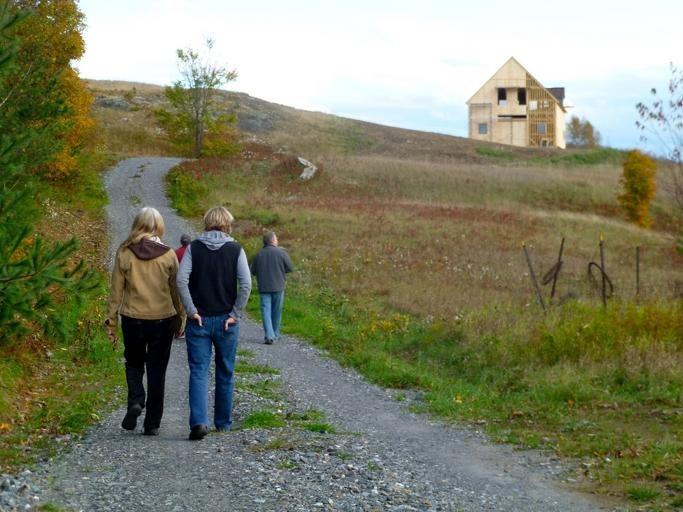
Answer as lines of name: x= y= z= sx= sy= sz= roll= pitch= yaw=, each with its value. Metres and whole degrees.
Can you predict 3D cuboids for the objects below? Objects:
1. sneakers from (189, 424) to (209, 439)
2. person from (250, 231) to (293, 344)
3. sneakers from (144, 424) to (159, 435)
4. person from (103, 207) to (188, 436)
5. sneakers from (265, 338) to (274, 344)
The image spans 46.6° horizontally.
sneakers: x=-1.954 y=2.391 z=10.832 sx=0.244 sy=0.213 sz=0.155 roll=2 pitch=10 yaw=-11
person: x=-1.442 y=0.604 z=16.281 sx=0.794 sy=2.268 sz=0.715 roll=3 pitch=9 yaw=-5
sneakers: x=-2.620 y=2.377 z=10.911 sx=0.195 sy=0.209 sz=0.115 roll=-1 pitch=4 yaw=-22
person: x=-2.695 y=0.916 z=10.898 sx=1.045 sy=3.093 sz=0.578 roll=2 pitch=9 yaw=-14
sneakers: x=-1.469 y=1.708 z=16.159 sx=0.194 sy=0.113 sz=0.198 roll=3 pitch=11 yaw=-9
